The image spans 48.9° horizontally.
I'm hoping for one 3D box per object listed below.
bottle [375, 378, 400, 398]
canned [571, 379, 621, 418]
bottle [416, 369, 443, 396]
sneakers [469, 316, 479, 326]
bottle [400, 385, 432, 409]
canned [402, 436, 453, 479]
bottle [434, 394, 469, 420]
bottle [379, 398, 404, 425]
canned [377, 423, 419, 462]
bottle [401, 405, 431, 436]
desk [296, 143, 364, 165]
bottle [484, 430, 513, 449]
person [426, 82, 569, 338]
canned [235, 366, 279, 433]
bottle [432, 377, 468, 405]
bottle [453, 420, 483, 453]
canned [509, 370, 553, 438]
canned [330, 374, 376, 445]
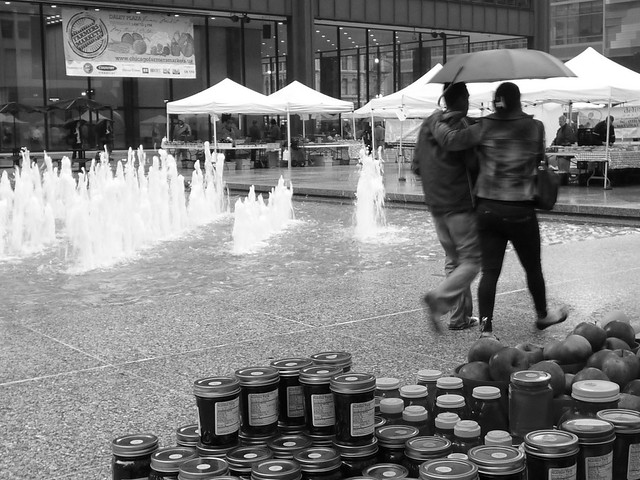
[{"bbox_3d":[0.292,0.642,3.105,0.081,0.072,0.080,2,6,27],"label":"bottle"},{"bbox_3d":[1.128,0.635,2.890,0.150,0.134,0.144,-1,3,-11],"label":"canned"},{"bbox_3d":[0.473,0.630,3.129,0.094,0.130,0.083,-2,4,-7],"label":"bottle"},{"bbox_3d":[1.251,0.666,5.800,0.040,0.045,0.113,8,16,40],"label":"sneakers"},{"bbox_3d":[0.400,0.653,2.957,0.117,0.105,0.072,-1,5,9],"label":"bottle"},{"bbox_3d":[0.391,0.766,2.540,0.137,0.116,0.131,-2,6,-10],"label":"canned"},{"bbox_3d":[0.538,0.679,2.929,0.112,0.096,0.109,-2,1,-30],"label":"bottle"},{"bbox_3d":[0.290,0.701,2.888,0.087,0.049,0.084,-1,6,0],"label":"bottle"},{"bbox_3d":[0.295,0.766,2.670,0.128,0.042,0.123,-3,7,-10],"label":"canned"},{"bbox_3d":[0.386,0.717,2.824,0.098,0.155,0.098,-3,1,0],"label":"bottle"},{"bbox_3d":[0.355,-3.892,31.290,2.743,0.993,6.292,-1,9,-2],"label":"desk"},{"bbox_3d":[0.673,0.738,2.651,0.067,0.054,0.068,-3,6,0],"label":"bottle"},{"bbox_3d":[1.304,-0.191,5.079,0.958,1.848,0.521,0,9,10],"label":"person"},{"bbox_3d":[-0.256,0.657,2.885,0.173,0.235,0.177,-2,9,-5],"label":"canned"},{"bbox_3d":[0.566,0.644,3.014,0.096,0.083,0.092,0,0,-5],"label":"bottle"},{"bbox_3d":[0.570,0.750,2.741,0.109,0.106,0.174,1,9,13],"label":"bottle"},{"bbox_3d":[0.872,0.689,2.931,0.169,0.237,0.174,1,9,15],"label":"canned"},{"bbox_3d":[0.121,0.655,2.707,0.167,0.234,0.152,0,9,7],"label":"canned"}]
